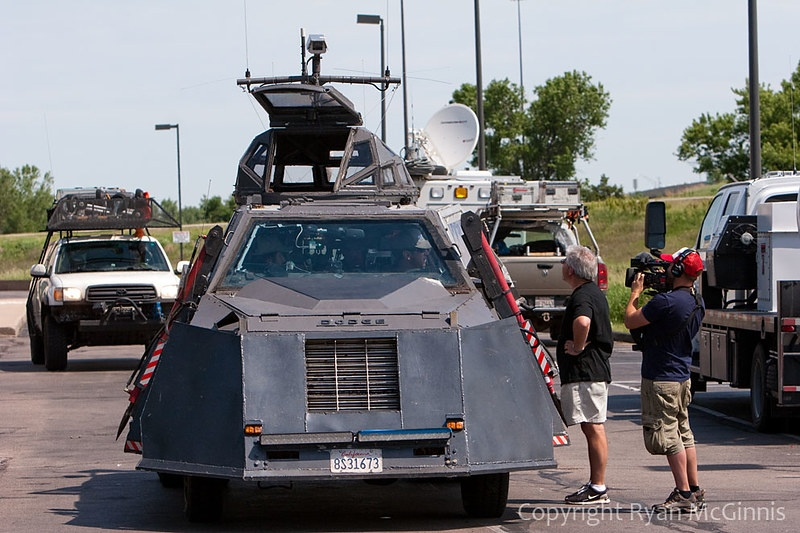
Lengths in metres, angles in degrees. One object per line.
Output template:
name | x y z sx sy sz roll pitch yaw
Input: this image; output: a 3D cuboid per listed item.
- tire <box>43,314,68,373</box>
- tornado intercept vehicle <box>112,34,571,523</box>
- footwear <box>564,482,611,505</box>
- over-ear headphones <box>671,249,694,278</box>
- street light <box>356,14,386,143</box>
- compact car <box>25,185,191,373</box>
tire | -6.876 1.545 29.348 0.453 1.169 0.532 -2 7 -17
tornado intercept vehicle | -1.031 0.130 21.880 5.384 5.344 7.905 0 -3 -6
footwear | 2.443 2.936 19.050 0.638 0.299 0.230 2 -3 -3
over-ear headphones | 3.729 -0.064 19.131 0.242 0.206 0.352 -19 43 -26
street light | -0.933 -6.608 47.213 0.918 3.520 0.345 2 -32 -2
compact car | -6.472 0.290 31.692 2.823 3.962 6.431 0 -1 -18
